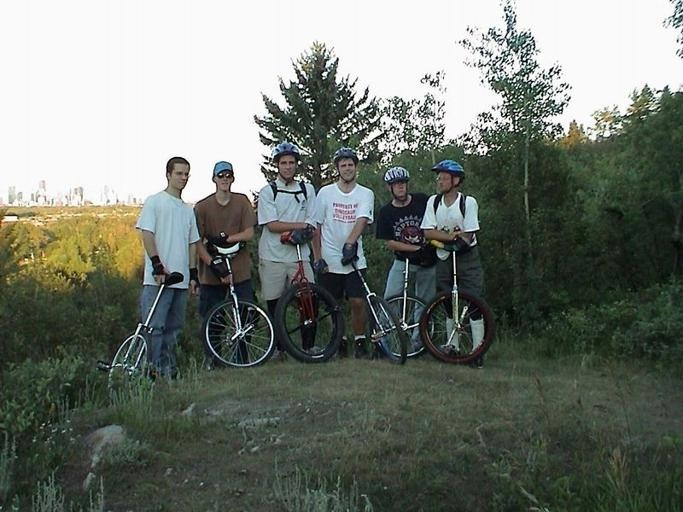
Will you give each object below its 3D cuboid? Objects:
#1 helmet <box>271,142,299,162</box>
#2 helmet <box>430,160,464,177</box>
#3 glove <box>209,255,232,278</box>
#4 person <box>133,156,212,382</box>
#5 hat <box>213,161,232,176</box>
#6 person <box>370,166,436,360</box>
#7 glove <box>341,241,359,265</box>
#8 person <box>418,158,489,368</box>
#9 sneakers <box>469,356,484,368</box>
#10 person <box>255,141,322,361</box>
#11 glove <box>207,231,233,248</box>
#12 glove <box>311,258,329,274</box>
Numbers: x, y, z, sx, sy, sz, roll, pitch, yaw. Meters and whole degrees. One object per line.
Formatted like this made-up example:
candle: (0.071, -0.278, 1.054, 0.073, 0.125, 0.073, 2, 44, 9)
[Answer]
helmet: (-0.869, -1.654, 9.835, 0.385, 0.358, 0.507, -2, -4, 0)
helmet: (1.695, -1.289, 9.754, 0.456, 0.307, 0.366, 8, 2, -14)
glove: (-1.843, 0.180, 9.493, 0.339, 0.259, 0.158, 46, -25, -14)
person: (-2.512, 0.209, 9.071, 0.852, 3.204, 0.715, 0, -4, -19)
hat: (-1.755, -1.320, 9.275, 0.266, 0.205, 0.731, -1, -5, -14)
person: (1.258, 0.056, 10.444, 1.016, 3.242, 1.088, -9, 22, -5)
glove: (0.128, -0.027, 9.632, 0.206, 0.366, 0.105, 0, 1, -33)
person: (1.792, 0.146, 9.882, 0.867, 3.240, 0.777, -3, -4, 14)
sneakers: (2.126, 1.729, 9.757, 0.100, 0.176, 0.373, -4, -28, 2)
person: (-0.868, -0.344, 9.812, 0.889, 2.816, 0.661, -1, -4, -9)
glove: (-1.878, -0.232, 9.614, 0.330, 0.250, 0.145, 4, 3, 13)
glove: (-0.337, 0.180, 9.808, 0.157, 0.259, 0.229, 9, 11, -26)
